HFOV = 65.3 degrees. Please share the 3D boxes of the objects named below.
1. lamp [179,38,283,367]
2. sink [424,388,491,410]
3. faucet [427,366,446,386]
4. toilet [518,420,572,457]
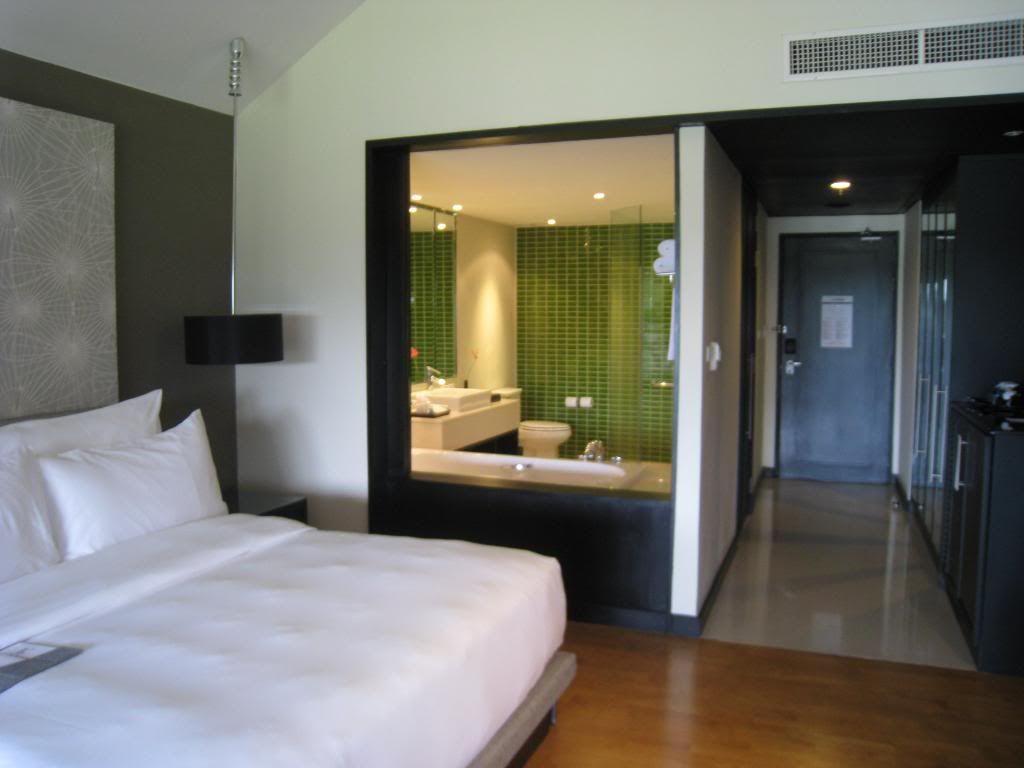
[{"bbox_3d":[-1.627,-0.996,4.572,0.559,1.861,0.686,-3,9,-18],"label":"lamp"},{"bbox_3d":[-0.453,0.141,7.148,0.691,0.168,0.389,-4,9,-25],"label":"sink"},{"bbox_3d":[-0.690,-0.072,7.232,0.147,0.148,0.118,-5,13,-26],"label":"faucet"},{"bbox_3d":[0.328,0.540,8.117,0.413,0.324,0.356,-1,4,13],"label":"toilet"}]
